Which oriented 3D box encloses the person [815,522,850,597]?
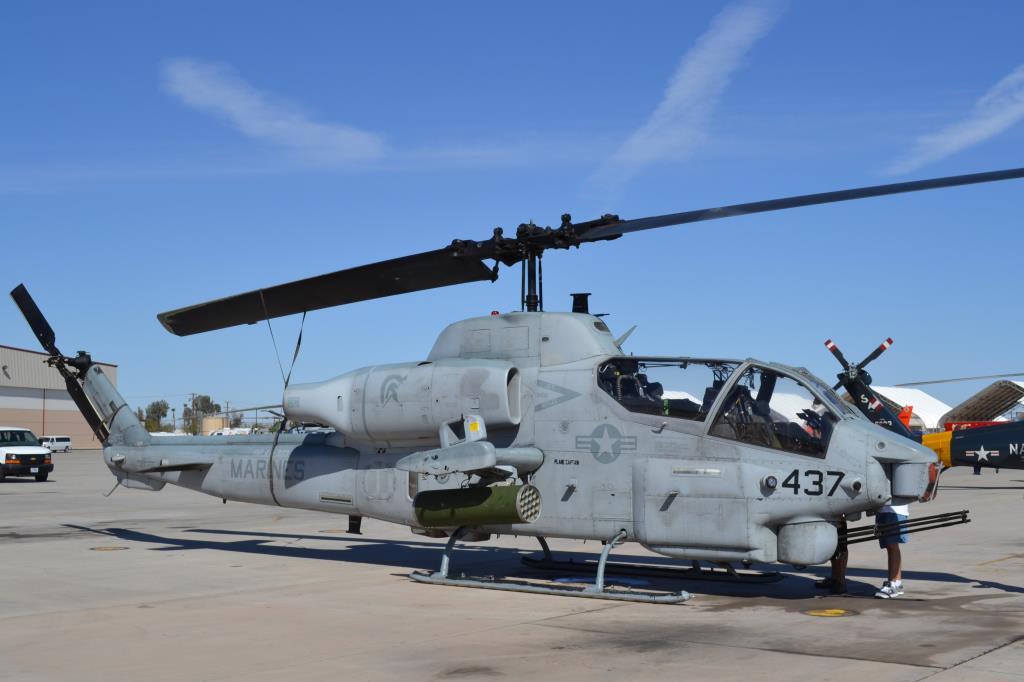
[{"bbox_3d":[4.600,3.058,12.497,0.410,1.136,1.326,-2,-6,18],"label":"person"}]

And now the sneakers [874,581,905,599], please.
[{"bbox_3d":[5.332,3.479,12.302,0.346,0.235,0.470,-2,-5,24],"label":"sneakers"}]

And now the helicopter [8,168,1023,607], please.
[{"bbox_3d":[0.138,1.300,14.070,10.874,2.801,8.240,-3,-1,25],"label":"helicopter"}]

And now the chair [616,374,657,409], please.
[{"bbox_3d":[1.813,0.755,12.567,0.595,0.537,0.246,-1,-6,8],"label":"chair"}]
